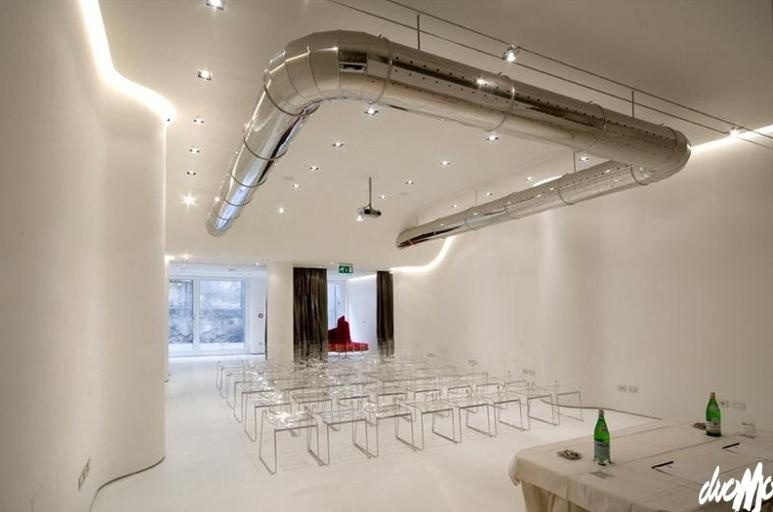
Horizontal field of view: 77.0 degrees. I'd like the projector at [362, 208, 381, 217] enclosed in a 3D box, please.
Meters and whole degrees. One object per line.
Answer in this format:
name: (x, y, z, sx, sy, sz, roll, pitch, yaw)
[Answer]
projector: (-0.318, -0.921, 10.075, 0.249, 0.134, 0.361, 3, -6, 1)
